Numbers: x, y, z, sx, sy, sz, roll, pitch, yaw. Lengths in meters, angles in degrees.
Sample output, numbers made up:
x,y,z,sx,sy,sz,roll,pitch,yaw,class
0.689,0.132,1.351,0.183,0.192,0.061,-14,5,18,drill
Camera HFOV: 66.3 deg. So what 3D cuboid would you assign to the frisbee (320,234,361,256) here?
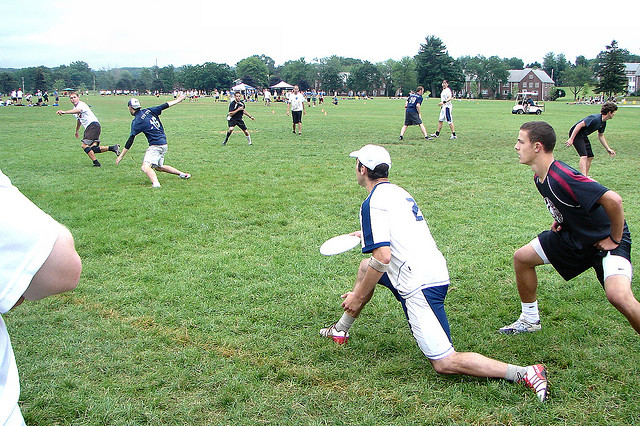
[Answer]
x,y,z,sx,sy,sz,roll,pitch,yaw,class
0.254,0.398,6.013,0.334,0.013,0.325,-15,18,2,frisbee
